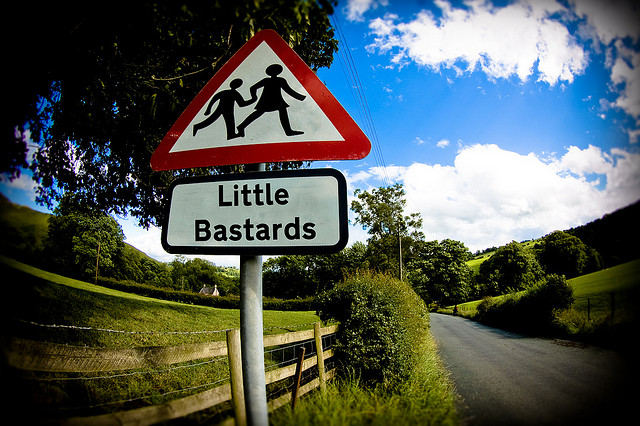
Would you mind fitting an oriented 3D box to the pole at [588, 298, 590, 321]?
[{"bbox_3d":[10.632,3.861,17.521,0.054,0.849,0.454,1,-7,31],"label":"pole"}]

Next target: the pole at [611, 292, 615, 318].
[{"bbox_3d":[10.107,3.214,15.289,0.094,0.866,1.382,1,-9,34],"label":"pole"}]
